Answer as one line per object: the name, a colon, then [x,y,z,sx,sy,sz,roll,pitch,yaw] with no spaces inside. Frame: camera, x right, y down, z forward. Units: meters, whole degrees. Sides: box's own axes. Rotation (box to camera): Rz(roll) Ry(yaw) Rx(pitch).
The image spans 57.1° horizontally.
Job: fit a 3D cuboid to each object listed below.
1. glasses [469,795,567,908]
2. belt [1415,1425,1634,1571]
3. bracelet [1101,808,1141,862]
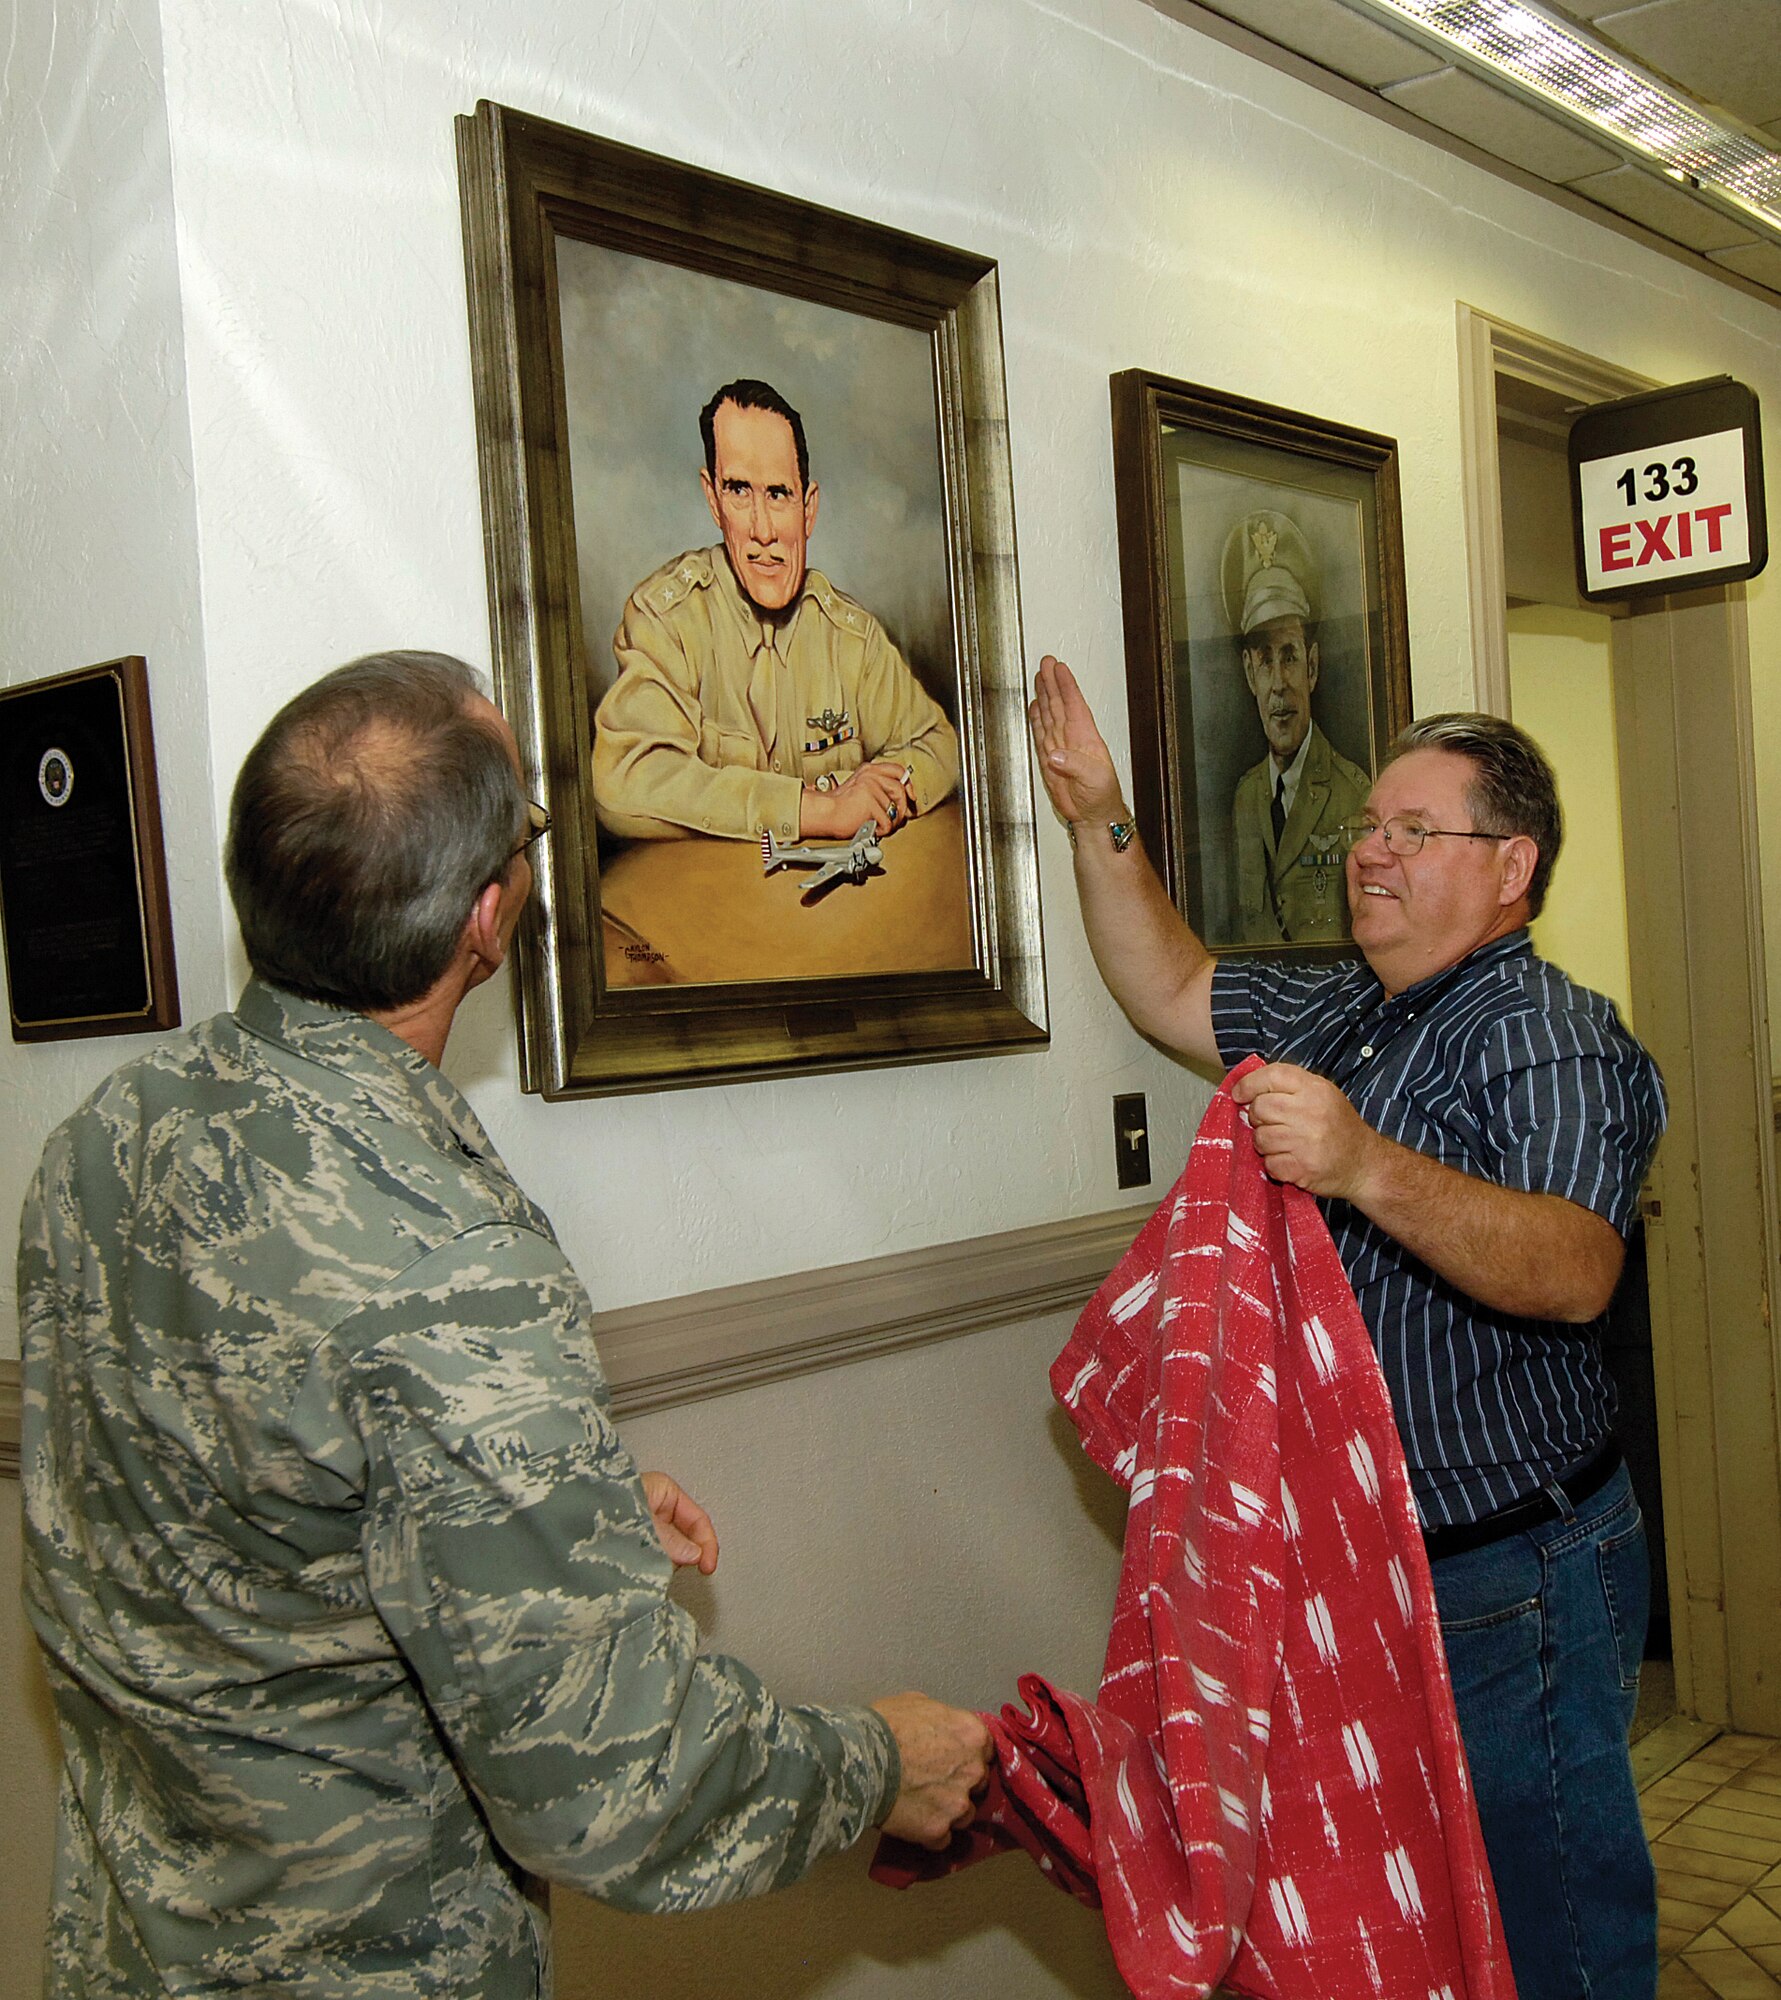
glasses: [-0.276,-0.103,1.135,0.089,0.026,0.088,-28,13,16]
belt: [0.647,0.499,1.626,0.124,0.038,0.121,-33,-13,30]
bracelet: [0.272,-0.202,1.975,0.025,0.049,0.034,15,39,40]
